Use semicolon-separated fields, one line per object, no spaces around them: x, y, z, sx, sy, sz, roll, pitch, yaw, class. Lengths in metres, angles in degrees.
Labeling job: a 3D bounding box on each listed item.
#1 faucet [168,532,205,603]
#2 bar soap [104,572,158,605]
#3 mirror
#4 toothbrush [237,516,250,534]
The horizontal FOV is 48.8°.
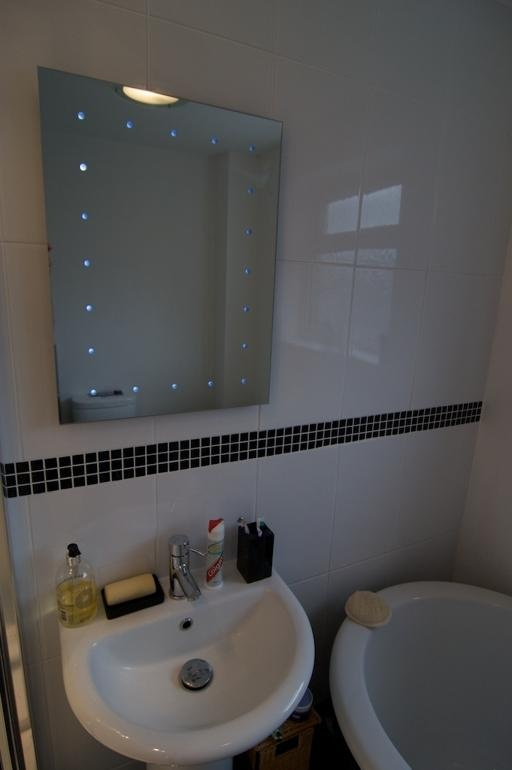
-0.162;0.397;1.225;0.050;0.144;0.163;-1;3;-14;faucet
-0.268;0.439;1.217;0.073;0.049;0.031;-16;-10;-24;bar soap
-0.186;-0.243;1.187;0.446;0.729;0.004;-6;39;-11;mirror
-0.034;0.342;1.370;0.018;0.042;0.034;-1;2;-16;toothbrush
